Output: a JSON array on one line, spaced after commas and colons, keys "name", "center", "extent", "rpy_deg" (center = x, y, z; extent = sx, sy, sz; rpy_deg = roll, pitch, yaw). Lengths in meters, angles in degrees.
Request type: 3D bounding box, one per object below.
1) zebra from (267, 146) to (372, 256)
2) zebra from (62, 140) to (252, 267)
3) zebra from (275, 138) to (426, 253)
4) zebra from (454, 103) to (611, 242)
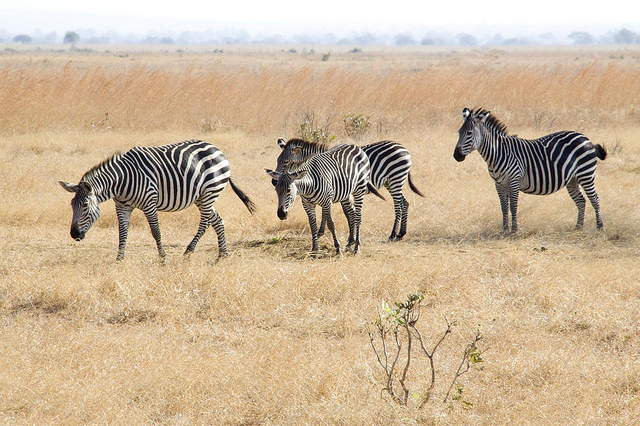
[{"name": "zebra", "center": [0.095, -0.215, 18.512], "extent": [0.848, 2.199, 2.972], "rpy_deg": [8, 18, 38]}, {"name": "zebra", "center": [-3.258, -0.156, 18.240], "extent": [4.386, 2.414, 1.121], "rpy_deg": [-9, 12, -44]}, {"name": "zebra", "center": [0.384, -0.372, 19.948], "extent": [3.887, 2.566, 0.984], "rpy_deg": [-2, 5, 29]}, {"name": "zebra", "center": [4.644, -0.998, 19.260], "extent": [3.062, 2.520, 1.665], "rpy_deg": [0, 15, 5]}]
